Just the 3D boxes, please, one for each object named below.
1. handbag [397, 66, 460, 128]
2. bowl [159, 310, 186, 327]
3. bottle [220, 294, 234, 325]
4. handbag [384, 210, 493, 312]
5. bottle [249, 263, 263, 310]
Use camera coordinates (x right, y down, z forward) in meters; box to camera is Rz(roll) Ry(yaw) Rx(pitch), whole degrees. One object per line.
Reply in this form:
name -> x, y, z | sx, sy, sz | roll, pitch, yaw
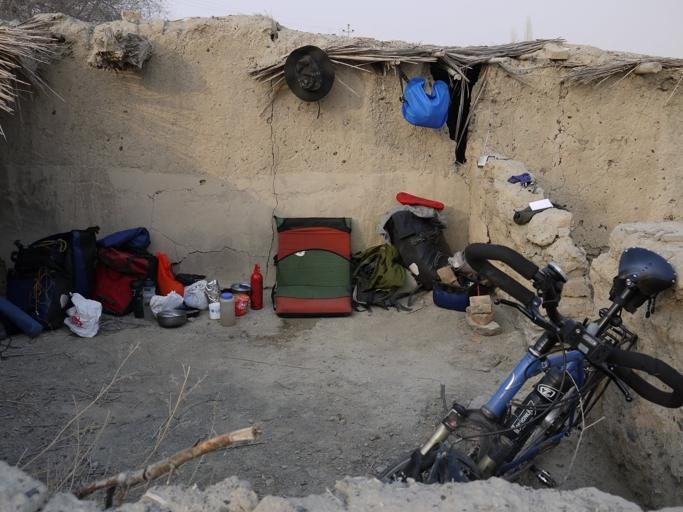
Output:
handbag -> 0.961, -1.738, 6.740 | 0.597, 0.720, 0.365 | -16, 55, -17
bowl -> -1.764, 0.645, 6.309 | 0.319, 0.143, 0.204 | -5, 17, -23
bottle -> -1.206, 0.553, 6.344 | 0.144, 0.323, 0.134 | 2, 16, -1
handbag -> 1.027, 0.015, 6.744 | 0.933, 0.395, 1.210 | -2, 60, -33
bottle -> -0.964, 0.321, 6.842 | 0.153, 0.504, 0.285 | -1, 16, -9
